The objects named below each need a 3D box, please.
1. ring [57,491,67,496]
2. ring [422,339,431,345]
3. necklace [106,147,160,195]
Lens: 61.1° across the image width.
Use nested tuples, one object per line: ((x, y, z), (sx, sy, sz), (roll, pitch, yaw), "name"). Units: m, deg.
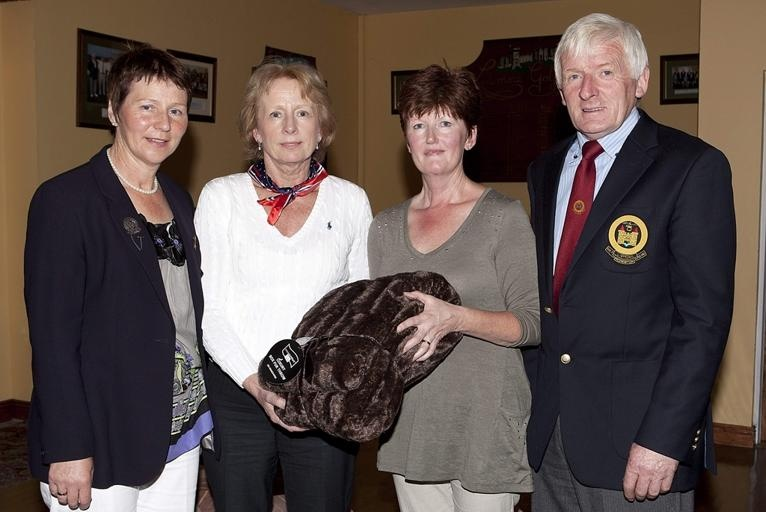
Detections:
((-1.085, 0.800, 2.194), (0.018, 0.017, 0.004), (0, 5, -15), "ring")
((0.153, 0.299, 2.279), (0.025, 0.022, 0.008), (-5, 7, -25), "ring")
((-0.919, -0.312, 2.414), (0.027, 0.195, 0.153), (-24, 3, 39), "necklace")
